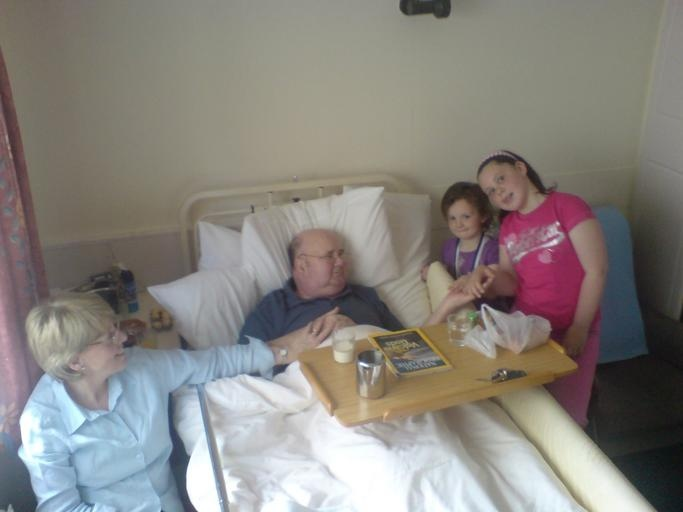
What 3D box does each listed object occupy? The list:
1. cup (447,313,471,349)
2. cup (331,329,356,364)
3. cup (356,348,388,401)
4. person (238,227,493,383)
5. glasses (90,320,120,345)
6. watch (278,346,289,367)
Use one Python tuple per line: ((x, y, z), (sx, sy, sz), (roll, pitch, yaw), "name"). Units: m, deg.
((0.456, 0.293, 2.081), (0.087, 0.109, 0.115), (1, 15, 2), "cup")
((0.007, 0.326, 1.965), (0.095, 0.113, 0.096), (0, 32, 0), "cup")
((0.101, 0.403, 1.825), (0.126, 0.159, 0.134), (-2, 18, 1), "cup")
((-0.141, 0.191, 2.504), (0.877, 0.336, 0.666), (-6, 29, -14), "person")
((-0.803, 0.265, 1.795), (0.029, 0.070, 0.116), (7, 22, 21), "glasses")
((-0.239, 0.419, 2.187), (0.040, 0.068, 0.066), (4, 25, 2), "watch")
